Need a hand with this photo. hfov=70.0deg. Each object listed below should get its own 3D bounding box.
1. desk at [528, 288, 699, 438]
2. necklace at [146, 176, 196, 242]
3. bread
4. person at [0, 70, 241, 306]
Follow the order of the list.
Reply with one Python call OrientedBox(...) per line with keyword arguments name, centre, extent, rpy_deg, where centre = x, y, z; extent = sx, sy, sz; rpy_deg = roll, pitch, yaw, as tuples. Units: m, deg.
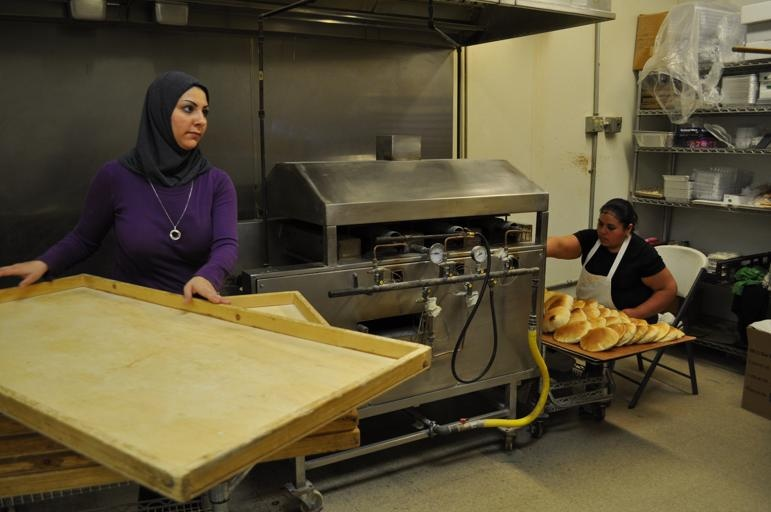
OrientedBox(name="desk", centre=(1.517, 0.589, 3.639), extent=(0.972, 0.483, 1.298), rpy_deg=(-10, 21, -26))
OrientedBox(name="necklace", centre=(-0.946, -0.193, 2.409), extent=(0.304, 0.344, 0.013), rpy_deg=(-2, 0, -11))
OrientedBox(name="bread", centre=(1.310, 0.422, 3.556), extent=(0.411, 0.109, 0.669), rpy_deg=(-5, 12, -21))
OrientedBox(name="person", centre=(-1.054, -0.293, 2.378), extent=(0.820, 0.966, 0.528), rpy_deg=(-2, 16, -2))
